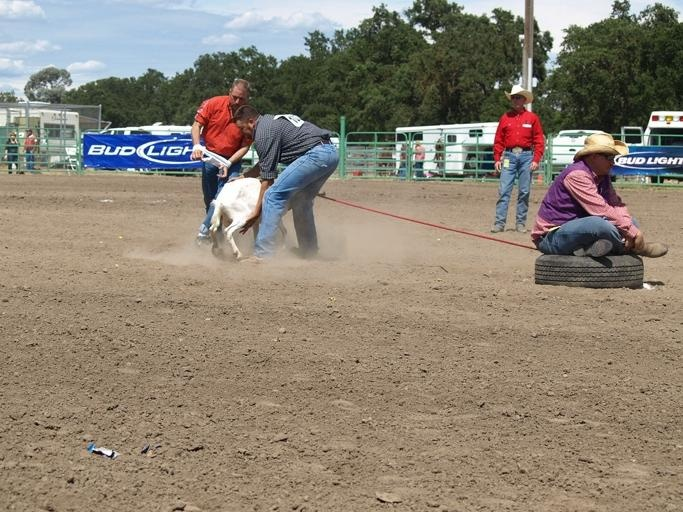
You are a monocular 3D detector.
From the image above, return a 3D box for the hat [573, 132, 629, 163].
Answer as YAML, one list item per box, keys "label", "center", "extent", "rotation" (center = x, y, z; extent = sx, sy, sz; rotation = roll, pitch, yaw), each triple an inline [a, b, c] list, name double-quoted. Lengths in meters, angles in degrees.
- label: "hat"
  center: [2.509, -1.057, 7.216]
  extent: [0.504, 0.202, 0.421]
  rotation: [-3, 3, 28]

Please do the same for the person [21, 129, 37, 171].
- label: "person"
  center: [-11.408, -3.880, 27.692]
  extent: [0.454, 1.510, 1.376]
  rotation: [-2, 8, -22]

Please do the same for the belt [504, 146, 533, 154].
- label: "belt"
  center: [2.668, -1.608, 11.300]
  extent: [0.412, 0.081, 0.138]
  rotation: [2, 7, 9]

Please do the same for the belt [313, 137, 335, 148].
- label: "belt"
  center: [-0.173, -1.262, 8.286]
  extent: [0.175, 0.119, 0.212]
  rotation: [1, 0, -19]

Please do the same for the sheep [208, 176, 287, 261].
- label: "sheep"
  center: [-1.060, -0.472, 8.700]
  extent: [0.446, 0.882, 1.489]
  rotation: [2, 6, 26]

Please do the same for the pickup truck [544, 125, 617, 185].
- label: "pickup truck"
  center: [7.548, -3.561, 25.226]
  extent: [1.484, 1.462, 2.865]
  rotation: [18, 13, 14]

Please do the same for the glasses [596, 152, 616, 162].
- label: "glasses"
  center: [2.529, -0.946, 7.167]
  extent: [0.108, 0.034, 0.106]
  rotation: [9, 10, -22]

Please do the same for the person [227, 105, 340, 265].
- label: "person"
  center: [-0.589, -0.787, 8.224]
  extent: [1.020, 1.655, 0.547]
  rotation: [-4, 9, -33]

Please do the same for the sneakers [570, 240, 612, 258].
- label: "sneakers"
  center: [2.423, -0.061, 7.152]
  extent: [0.218, 0.090, 0.216]
  rotation: [-17, -2, -29]

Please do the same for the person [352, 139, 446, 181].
- label: "person"
  center: [1.598, -3.432, 26.258]
  extent: [2.784, 0.998, 1.538]
  rotation: [2, 2, 4]

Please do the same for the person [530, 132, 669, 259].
- label: "person"
  center: [2.606, -0.578, 7.793]
  extent: [1.314, 1.335, 1.226]
  rotation: [1, 1, 26]

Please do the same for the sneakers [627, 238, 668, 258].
- label: "sneakers"
  center: [3.016, -0.070, 7.453]
  extent: [0.308, 0.213, 0.098]
  rotation: [-10, 35, -2]
